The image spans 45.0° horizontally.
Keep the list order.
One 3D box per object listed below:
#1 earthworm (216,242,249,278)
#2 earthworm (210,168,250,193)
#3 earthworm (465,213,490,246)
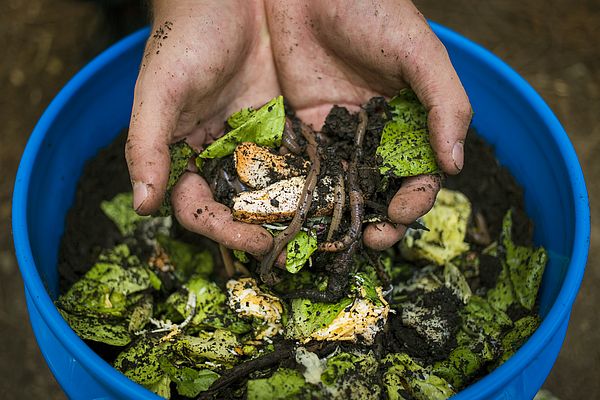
[{"bbox_3d":[-0.683,0.627,7.113,0.087,0.245,0.351,-38,84,15],"label":"earthworm"},{"bbox_3d":[-0.655,-0.164,6.747,0.239,0.074,0.270,8,58,-21],"label":"earthworm"},{"bbox_3d":[1.814,0.312,7.308,0.212,0.089,0.312,7,74,-17],"label":"earthworm"}]
